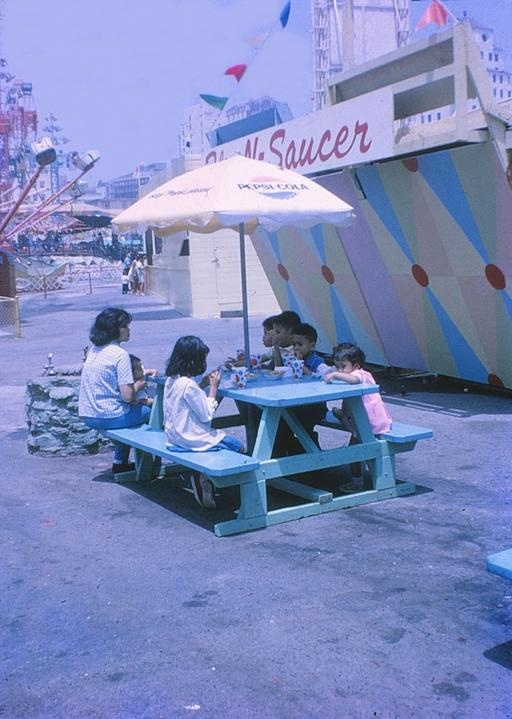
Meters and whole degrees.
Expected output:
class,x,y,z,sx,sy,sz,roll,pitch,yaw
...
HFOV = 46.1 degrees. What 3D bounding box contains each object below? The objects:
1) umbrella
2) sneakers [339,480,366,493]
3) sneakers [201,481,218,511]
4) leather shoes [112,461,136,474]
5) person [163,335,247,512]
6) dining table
class,x,y,z,sx,sy,sz,roll,pitch,yaw
umbrella,-0.174,-0.959,5.217,1.942,1.643,1.989,-2,6,7
sneakers,0.740,0.965,4.596,0.089,0.076,0.203,-4,0,-29
sneakers,-0.311,0.925,4.101,0.081,0.188,0.147,-8,-8,13
leather shoes,-1.128,0.915,5.158,0.082,0.090,0.246,2,3,37
person,-0.355,0.455,4.206,0.546,1.239,0.652,-3,4,-9
dining table,0.160,0.631,4.187,1.201,0.554,1.208,-1,-1,-33
